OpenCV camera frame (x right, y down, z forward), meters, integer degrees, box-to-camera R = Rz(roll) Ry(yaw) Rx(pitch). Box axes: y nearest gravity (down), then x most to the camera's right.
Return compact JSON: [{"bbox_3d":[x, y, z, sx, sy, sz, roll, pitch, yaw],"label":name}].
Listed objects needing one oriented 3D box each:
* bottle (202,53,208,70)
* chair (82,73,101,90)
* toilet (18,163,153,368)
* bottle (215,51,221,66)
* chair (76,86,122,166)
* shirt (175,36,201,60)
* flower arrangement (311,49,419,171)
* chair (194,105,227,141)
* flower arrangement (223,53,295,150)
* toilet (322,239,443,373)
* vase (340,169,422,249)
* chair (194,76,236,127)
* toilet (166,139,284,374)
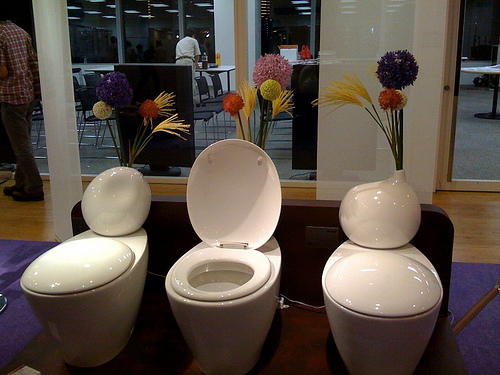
[{"bbox_3d":[-0.428,-1.189,3.696,0.065,0.140,0.012,8,19,25],"label":"bottle"},{"bbox_3d":[-1.567,-1.075,3.923,0.183,0.140,0.145,-3,19,-7],"label":"chair"},{"bbox_3d":[-0.648,0.337,1.681,0.394,0.720,0.582,5,19,16],"label":"toilet"},{"bbox_3d":[-0.299,-1.201,3.649,0.053,0.129,0.008,5,18,18],"label":"bottle"},{"bbox_3d":[-1.651,-0.740,4.103,0.302,0.513,0.330,-20,31,-23],"label":"chair"},{"bbox_3d":[-0.597,-1.307,3.733,0.254,0.246,0.156,1,2,10],"label":"shirt"},{"bbox_3d":[0.514,-0.310,1.621,0.340,0.497,0.345,-5,4,21],"label":"flower arrangement"},{"bbox_3d":[-0.371,-0.673,3.818,0.290,0.411,0.411,0,32,3],"label":"chair"},{"bbox_3d":[0.036,-0.381,1.855,0.308,0.492,0.203,-1,25,-17],"label":"flower arrangement"},{"bbox_3d":[0.499,0.426,1.526,0.349,0.376,0.485,-1,13,12],"label":"toilet"},{"bbox_3d":[0.590,0.091,1.750,0.345,0.375,0.367,-4,-1,32],"label":"vase"},{"bbox_3d":[-0.380,-0.913,3.772,0.259,0.410,0.225,4,28,12],"label":"chair"},{"bbox_3d":[-0.100,0.274,1.633,0.449,0.847,0.544,1,18,5],"label":"toilet"}]
